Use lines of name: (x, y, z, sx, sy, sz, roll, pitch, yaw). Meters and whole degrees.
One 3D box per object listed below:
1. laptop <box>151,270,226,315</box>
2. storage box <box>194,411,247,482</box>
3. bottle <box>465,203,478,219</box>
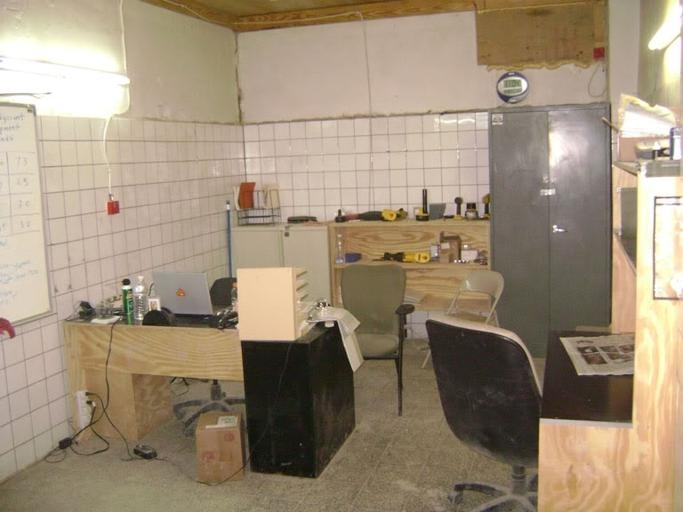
laptop: (-1.183, 0.284, 4.444, 0.451, 0.319, 0.331, 4, 17, 12)
storage box: (-0.851, 1.315, 3.861, 0.355, 0.387, 0.306, -4, 13, -8)
bottle: (1.391, -0.484, 5.979, 0.125, 0.149, 0.314, 0, 13, 12)
